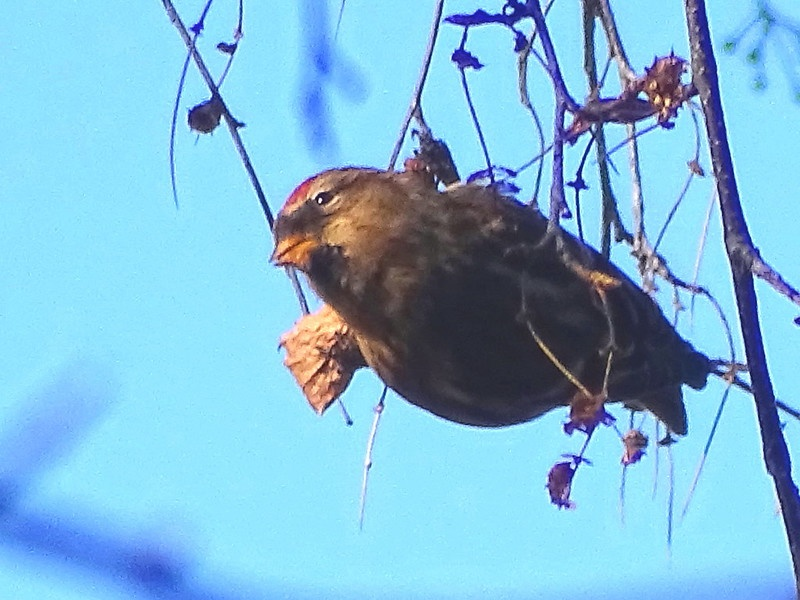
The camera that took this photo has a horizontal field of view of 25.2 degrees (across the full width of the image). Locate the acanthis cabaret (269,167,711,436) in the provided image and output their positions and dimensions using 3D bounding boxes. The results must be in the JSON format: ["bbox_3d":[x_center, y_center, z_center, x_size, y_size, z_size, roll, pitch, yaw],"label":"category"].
[{"bbox_3d":[0.201,0.047,4.360,1.005,0.692,0.531,7,-22,-15],"label":"acanthis cabaret"}]
